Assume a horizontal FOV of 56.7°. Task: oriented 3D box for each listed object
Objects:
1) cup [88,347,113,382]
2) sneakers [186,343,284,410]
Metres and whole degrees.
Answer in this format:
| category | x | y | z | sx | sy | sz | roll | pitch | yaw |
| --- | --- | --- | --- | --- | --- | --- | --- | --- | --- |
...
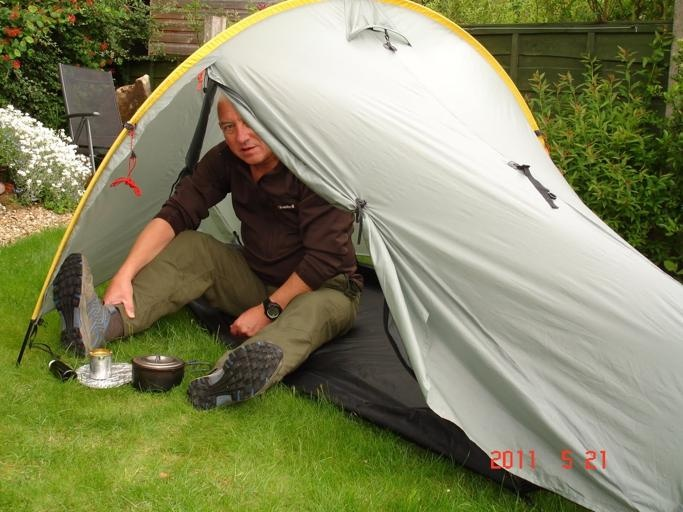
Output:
| category | x | y | z | sx | sy | sz | roll | pitch | yaw |
| --- | --- | --- | --- | --- | --- | --- | --- | --- | --- |
| cup | -1.146 | 0.512 | 3.015 | 0.112 | 0.138 | 0.124 | 3 | 5 | 0 |
| sneakers | -0.492 | 0.559 | 2.968 | 0.450 | 0.256 | 0.201 | -23 | -22 | 26 |
